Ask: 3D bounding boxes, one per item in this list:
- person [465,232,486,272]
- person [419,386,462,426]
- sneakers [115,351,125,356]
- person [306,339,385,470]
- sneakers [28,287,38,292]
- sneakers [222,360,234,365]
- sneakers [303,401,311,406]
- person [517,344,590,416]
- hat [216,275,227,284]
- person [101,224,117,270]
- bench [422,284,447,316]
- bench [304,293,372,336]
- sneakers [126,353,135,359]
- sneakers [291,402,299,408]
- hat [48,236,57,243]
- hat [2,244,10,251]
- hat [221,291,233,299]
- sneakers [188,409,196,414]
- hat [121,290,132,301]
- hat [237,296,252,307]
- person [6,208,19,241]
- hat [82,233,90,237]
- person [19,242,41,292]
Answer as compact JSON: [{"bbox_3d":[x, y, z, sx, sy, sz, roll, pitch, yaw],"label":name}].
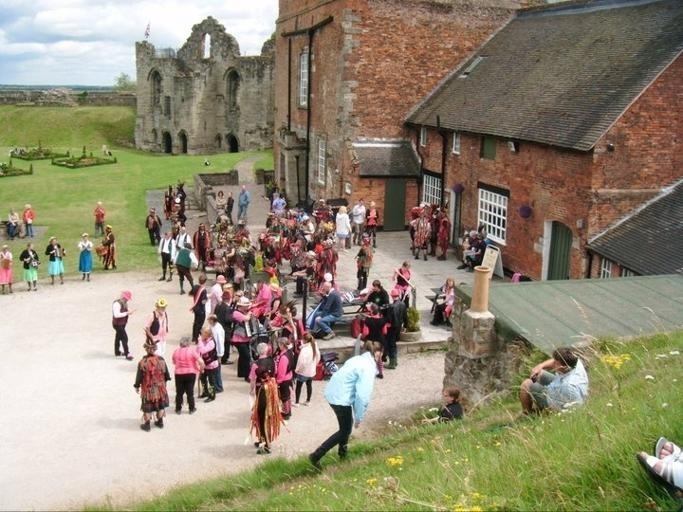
[{"bbox_3d":[4.965,-0.169,24.049,0.630,1.403,1.153,-3,8,-13],"label":"person"},{"bbox_3d":[1.905,2.861,12.368,0.730,0.730,0.576,1,-2,-16],"label":"person"},{"bbox_3d":[-6.142,2.695,17.949,0.226,0.095,0.124,-5,-3,40],"label":"sneakers"},{"bbox_3d":[0.099,2.639,11.578,1.161,2.198,0.643,0,8,11],"label":"person"},{"bbox_3d":[-11.739,1.259,24.672,0.179,0.143,0.454,12,-11,-43],"label":"sneakers"},{"bbox_3d":[-3.135,2.914,17.827,0.331,0.141,0.105,-3,1,-16],"label":"sneakers"},{"bbox_3d":[-0.837,3.485,15.365,0.115,0.090,0.202,2,-8,-3],"label":"sneakers"},{"bbox_3d":[3.394,2.005,10.361,0.576,1.204,1.074,-5,9,-27],"label":"person"},{"bbox_3d":[-3.393,0.697,18.220,0.316,0.153,0.316,0,11,-23],"label":"hat"},{"bbox_3d":[-9.809,-0.363,27.339,0.555,1.834,1.442,-4,8,-20],"label":"person"},{"bbox_3d":[2.967,1.306,20.461,0.758,0.942,1.003,-1,5,-7],"label":"bench"},{"bbox_3d":[-0.224,1.581,18.140,1.323,0.684,1.281,-2,9,-13],"label":"bench"},{"bbox_3d":[-5.792,2.724,17.756,0.208,0.137,0.117,4,9,32],"label":"sneakers"},{"bbox_3d":[-1.083,3.462,15.295,0.144,0.135,0.194,1,8,19],"label":"sneakers"},{"bbox_3d":[-12.409,-0.705,27.855,0.480,0.176,0.536,-3,-4,-9],"label":"hat"},{"bbox_3d":[-13.657,-0.334,26.413,0.308,0.277,0.291,-5,13,-21],"label":"hat"},{"bbox_3d":[-2.974,1.016,16.798,0.180,0.212,0.213,4,2,-10],"label":"hat"},{"bbox_3d":[-3.452,3.578,15.037,0.154,0.116,0.111,-5,9,-27],"label":"sneakers"},{"bbox_3d":[-5.846,1.077,17.603,0.210,0.285,0.519,-3,8,-10],"label":"hat"},{"bbox_3d":[-2.543,1.196,16.827,0.274,0.267,0.743,-3,8,-12],"label":"hat"},{"bbox_3d":[-16.141,-1.537,31.839,0.601,1.484,0.990,-5,9,-27],"label":"person"},{"bbox_3d":[-11.300,-0.922,28.653,0.474,0.160,0.475,0,-2,-5],"label":"hat"},{"bbox_3d":[-11.770,0.396,24.582,0.502,1.792,0.969,-5,8,-24],"label":"person"}]
